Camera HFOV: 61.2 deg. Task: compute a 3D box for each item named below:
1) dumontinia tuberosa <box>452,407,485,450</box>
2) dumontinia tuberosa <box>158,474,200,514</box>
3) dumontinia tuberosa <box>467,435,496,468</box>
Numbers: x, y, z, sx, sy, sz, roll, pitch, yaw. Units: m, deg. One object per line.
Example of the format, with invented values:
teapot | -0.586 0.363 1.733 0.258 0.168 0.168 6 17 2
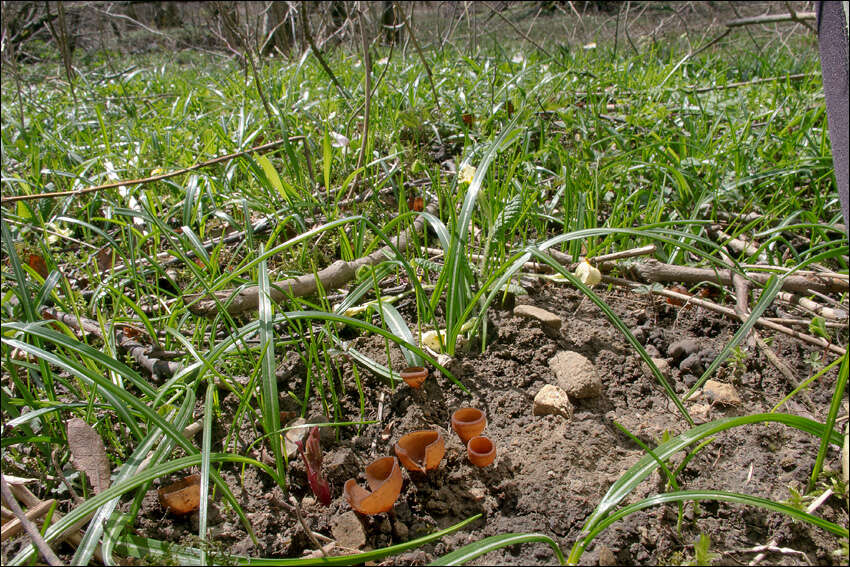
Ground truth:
dumontinia tuberosa | 0.152 0.515 2.545 0.128 0.117 0.137 5 20 31
dumontinia tuberosa | -0.848 0.732 2.471 0.118 0.111 0.145 -15 -4 -16
dumontinia tuberosa | 0.188 0.574 2.466 0.092 0.088 0.092 21 49 31
